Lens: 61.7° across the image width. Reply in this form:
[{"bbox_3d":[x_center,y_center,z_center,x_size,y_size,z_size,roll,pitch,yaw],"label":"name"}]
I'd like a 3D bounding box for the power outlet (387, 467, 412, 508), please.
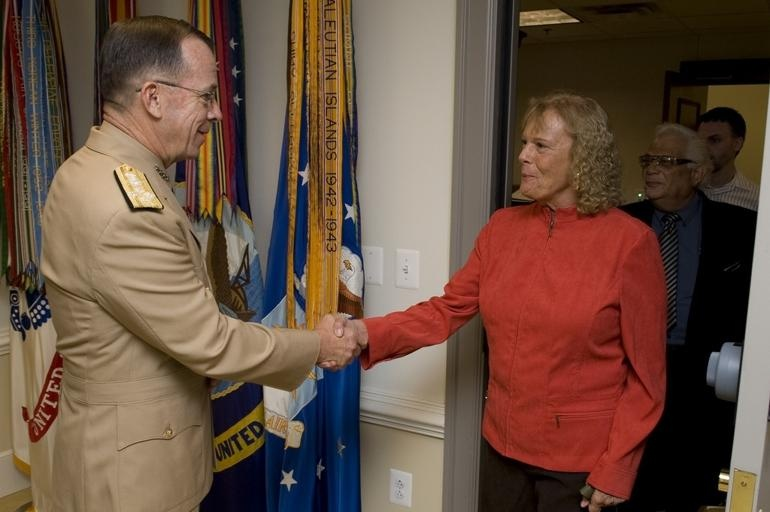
[{"bbox_3d":[0.072,1.035,2.892,0.150,0.238,0.018,5,10,25],"label":"power outlet"}]
